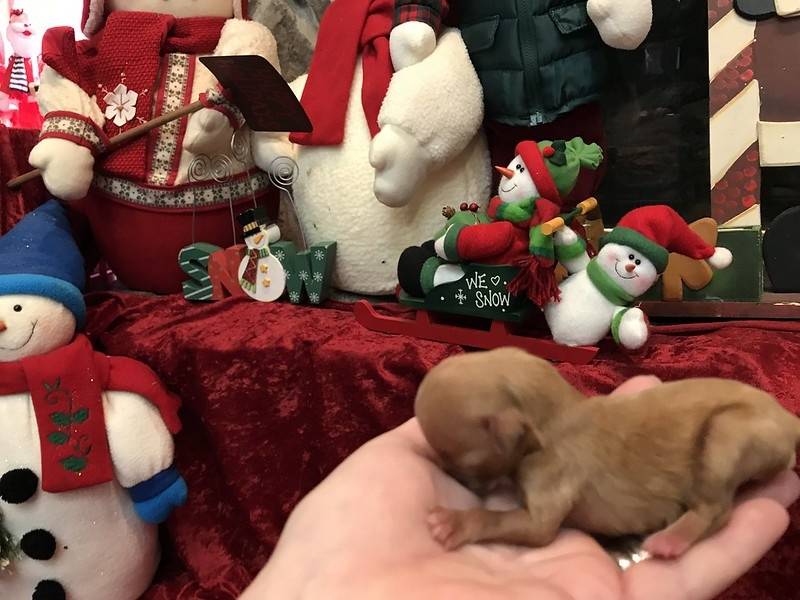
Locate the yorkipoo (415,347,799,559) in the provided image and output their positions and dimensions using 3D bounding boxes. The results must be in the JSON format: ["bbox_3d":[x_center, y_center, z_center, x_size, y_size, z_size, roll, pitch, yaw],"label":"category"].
[{"bbox_3d":[0.220,0.155,0.782,0.386,0.199,0.203,-2,14,10],"label":"yorkipoo"}]

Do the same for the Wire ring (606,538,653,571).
[{"bbox_3d":[0.242,0.268,0.719,0.033,0.037,0.010,-23,20,16],"label":"Wire ring"}]

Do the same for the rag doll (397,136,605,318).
[{"bbox_3d":[0.184,-0.124,1.207,0.327,0.340,0.241,9,10,27],"label":"rag doll"}]

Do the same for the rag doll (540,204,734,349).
[{"bbox_3d":[0.375,-0.025,1.062,0.280,0.205,0.114,5,32,10],"label":"rag doll"}]
